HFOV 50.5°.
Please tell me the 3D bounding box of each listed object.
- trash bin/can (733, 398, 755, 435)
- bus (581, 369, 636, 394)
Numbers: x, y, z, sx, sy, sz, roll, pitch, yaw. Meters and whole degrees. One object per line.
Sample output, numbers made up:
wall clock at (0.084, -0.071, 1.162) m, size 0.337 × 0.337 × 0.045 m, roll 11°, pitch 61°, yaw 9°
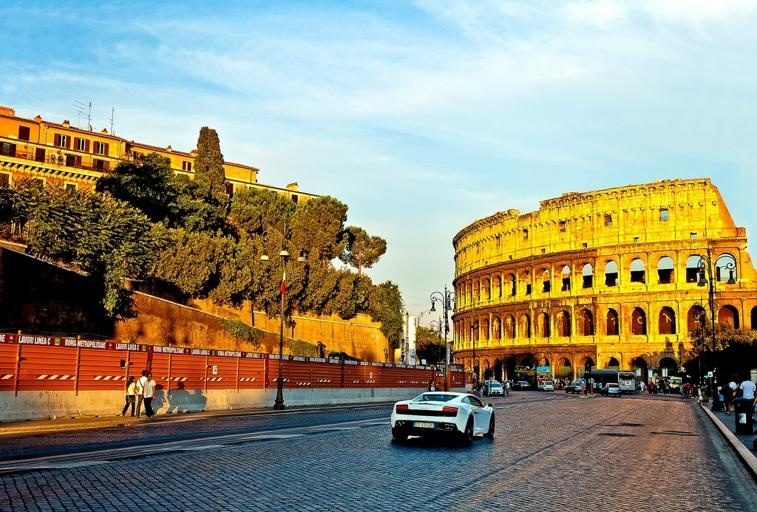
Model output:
trash bin/can at (14.811, 6.439, 32.472) m, size 0.656 × 1.377 × 0.947 m, roll 0°, pitch -5°, yaw 20°
bus at (25.026, 13.562, 86.657) m, size 6.456 × 3.061 × 2.375 m, roll -8°, pitch -9°, yaw 40°
